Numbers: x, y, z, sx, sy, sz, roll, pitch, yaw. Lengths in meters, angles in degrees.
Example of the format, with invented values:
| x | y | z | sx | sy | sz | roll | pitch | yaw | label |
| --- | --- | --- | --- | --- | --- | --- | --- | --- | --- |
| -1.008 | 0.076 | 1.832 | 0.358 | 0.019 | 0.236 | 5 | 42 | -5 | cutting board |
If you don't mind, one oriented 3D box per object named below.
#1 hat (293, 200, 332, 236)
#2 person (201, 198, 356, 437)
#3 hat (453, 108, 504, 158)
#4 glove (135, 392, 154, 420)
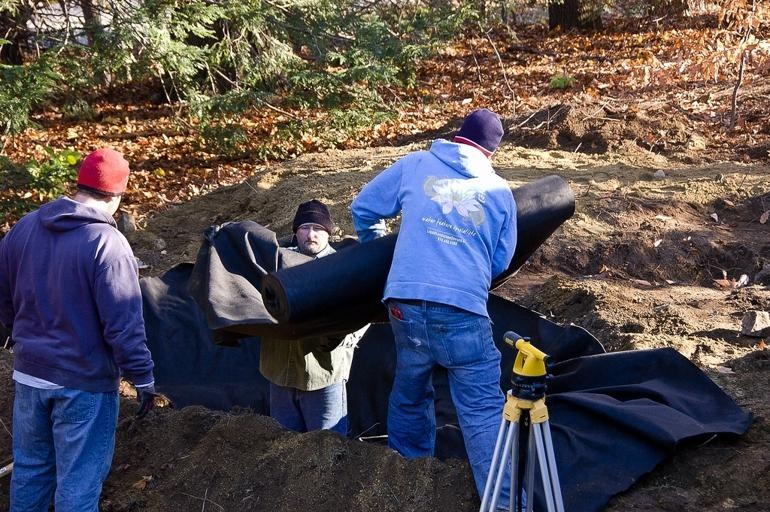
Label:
| x | y | z | sx | sy | sz | roll | pitch | yaw | label |
| --- | --- | --- | --- | --- | --- | --- | --- | --- | --- |
| -0.802 | -0.424 | 9.860 | 0.420 | 0.365 | 0.447 | 4 | -14 | -12 | hat |
| -0.972 | 1.110 | 9.638 | 1.399 | 3.287 | 1.018 | 8 | 21 | 15 | person |
| 0.898 | -1.338 | 9.230 | 0.301 | 0.361 | 0.382 | 21 | 8 | 7 | hat |
| -2.343 | 1.471 | 8.685 | 0.162 | 0.279 | 0.135 | 23 | -6 | 1 | glove |
